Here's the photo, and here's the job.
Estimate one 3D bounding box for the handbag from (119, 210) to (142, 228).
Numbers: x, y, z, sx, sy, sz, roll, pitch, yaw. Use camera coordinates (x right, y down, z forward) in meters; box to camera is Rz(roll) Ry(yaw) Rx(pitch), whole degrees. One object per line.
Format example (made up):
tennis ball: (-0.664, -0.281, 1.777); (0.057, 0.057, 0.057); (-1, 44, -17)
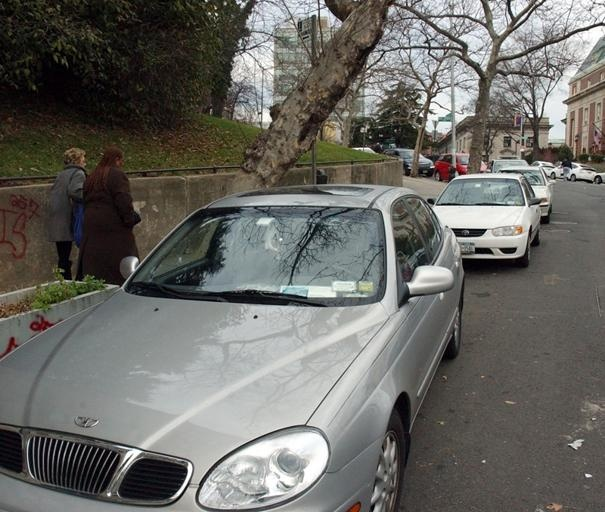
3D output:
handbag: (-1.921, -0.418, 5.531); (0.185, 0.173, 0.147); (-36, -10, 14)

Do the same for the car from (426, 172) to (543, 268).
car: (3.926, -0.854, 10.555); (1.597, 1.341, 2.897); (0, 8, 23)
